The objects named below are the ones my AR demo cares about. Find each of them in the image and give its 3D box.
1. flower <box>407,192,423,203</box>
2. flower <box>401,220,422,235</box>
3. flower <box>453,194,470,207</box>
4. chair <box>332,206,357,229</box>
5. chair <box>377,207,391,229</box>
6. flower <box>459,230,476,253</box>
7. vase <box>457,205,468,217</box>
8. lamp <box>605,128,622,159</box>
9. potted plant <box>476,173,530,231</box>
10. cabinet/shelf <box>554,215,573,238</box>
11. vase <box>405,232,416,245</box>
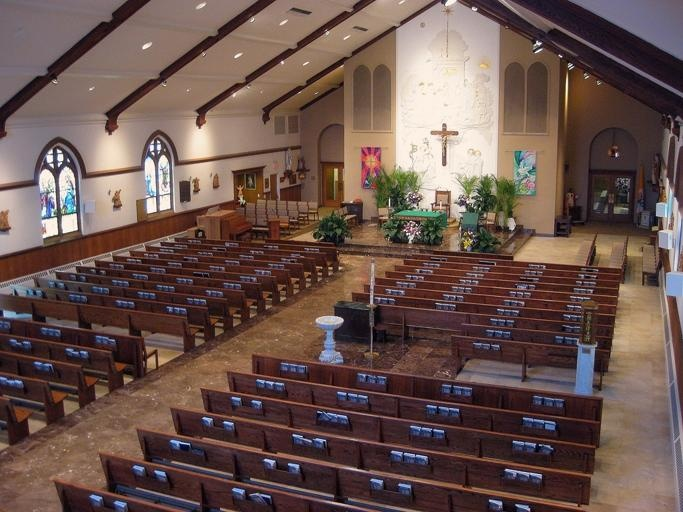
[{"bbox_3d":[3.325,-2.676,22.318,0.537,0.453,0.550,17,38,40],"label":"flower"},{"bbox_3d":[2.762,-1.119,19.185,0.548,0.392,0.559,4,10,13],"label":"flower"},{"bbox_3d":[5.402,-2.477,21.861,0.563,0.554,0.559,1,5,7],"label":"flower"},{"bbox_3d":[0.176,-1.654,21.320,0.382,0.640,1.156,4,15,23],"label":"chair"},{"bbox_3d":[1.964,-1.810,22.556,0.568,0.839,1.642,-3,9,-7],"label":"chair"},{"bbox_3d":[4.480,-0.510,17.592,0.697,0.616,0.703,3,2,-38],"label":"flower"},{"bbox_3d":[5.432,-2.036,22.195,0.594,0.563,0.596,1,7,11],"label":"vase"},{"bbox_3d":[12.872,-5.316,23.218,0.714,1.430,0.493,-9,11,-43],"label":"lamp"},{"bbox_3d":[6.916,-2.387,21.921,2.526,2.734,2.198,8,14,40],"label":"potted plant"},{"bbox_3d":[9.750,-1.301,21.707,0.705,0.896,1.336,6,15,29],"label":"cabinet/shelf"},{"bbox_3d":[2.707,-0.697,19.181,0.393,0.383,0.384,0,8,10],"label":"vase"}]
